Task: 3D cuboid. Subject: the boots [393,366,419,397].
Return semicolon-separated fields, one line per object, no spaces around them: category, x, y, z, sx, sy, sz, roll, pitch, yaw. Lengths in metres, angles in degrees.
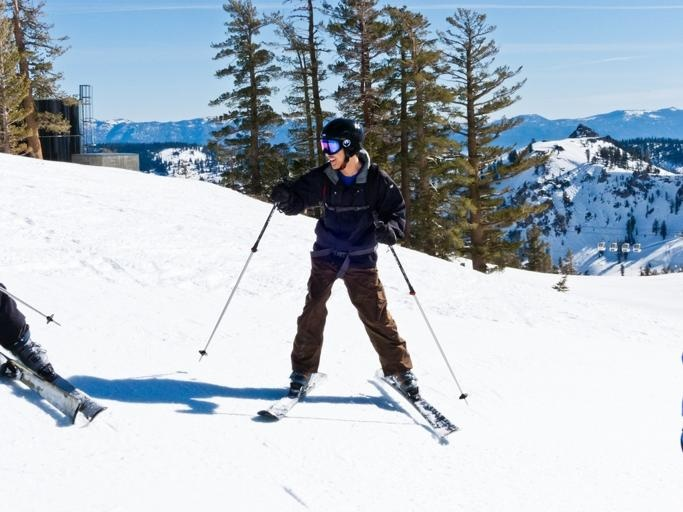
boots;0.830;1.536;9.374;0.159;0.204;0.448;-18;17;-28

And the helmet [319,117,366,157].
helmet;0.008;-1.439;9.146;0.503;0.421;0.386;2;7;-16

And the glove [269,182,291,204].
glove;-0.723;-0.764;9.383;0.207;0.280;0.114;11;3;7

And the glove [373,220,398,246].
glove;0.527;-0.311;9.101;0.288;0.225;0.124;33;48;-5
